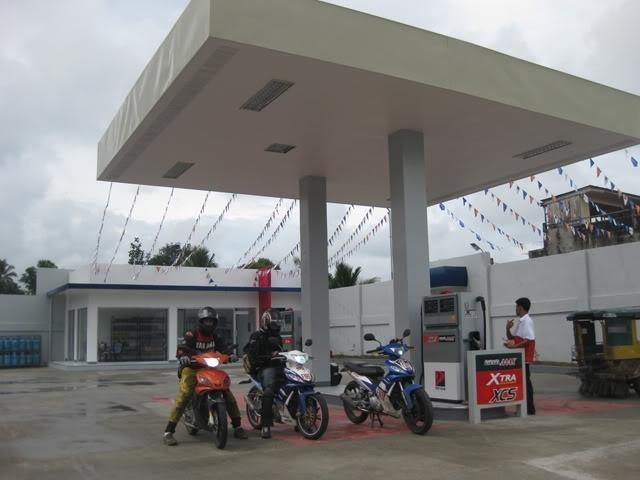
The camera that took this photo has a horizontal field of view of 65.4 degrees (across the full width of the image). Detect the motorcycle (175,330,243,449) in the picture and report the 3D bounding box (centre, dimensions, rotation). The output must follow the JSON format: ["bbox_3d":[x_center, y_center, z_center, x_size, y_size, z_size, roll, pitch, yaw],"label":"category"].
[{"bbox_3d":[-1.686,2.082,7.099,0.706,1.573,1.189,10,-16,-39],"label":"motorcycle"}]

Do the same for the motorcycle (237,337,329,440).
[{"bbox_3d":[-0.537,2.305,7.468,0.998,1.236,1.408,3,-13,-15],"label":"motorcycle"}]

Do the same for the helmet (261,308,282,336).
[{"bbox_3d":[-0.707,1.244,7.699,0.258,0.379,0.357,8,-16,-33],"label":"helmet"}]

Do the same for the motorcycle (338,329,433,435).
[{"bbox_3d":[0.909,2.248,7.925,0.786,1.456,1.987,10,-16,-33],"label":"motorcycle"}]

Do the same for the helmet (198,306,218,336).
[{"bbox_3d":[-1.681,1.189,7.386,0.309,0.426,0.404,3,-14,-17],"label":"helmet"}]

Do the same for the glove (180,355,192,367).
[{"bbox_3d":[-1.905,1.704,7.043,0.170,0.179,0.134,0,-1,-15],"label":"glove"}]

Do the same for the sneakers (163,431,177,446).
[{"bbox_3d":[-2.114,2.772,6.966,0.103,0.120,0.266,8,-19,-31],"label":"sneakers"}]
